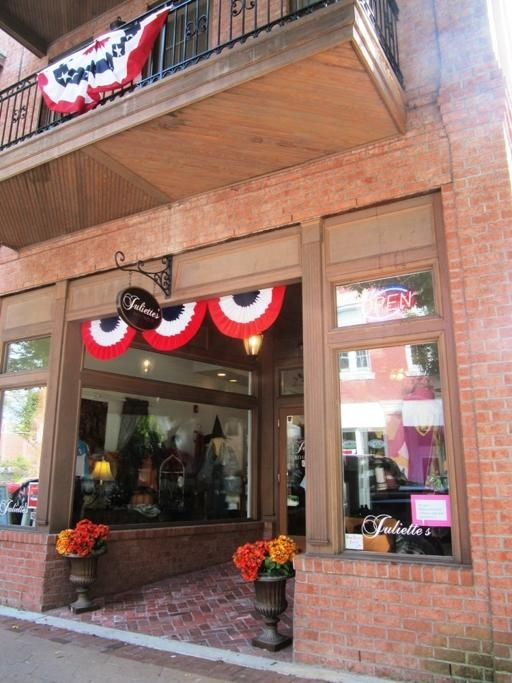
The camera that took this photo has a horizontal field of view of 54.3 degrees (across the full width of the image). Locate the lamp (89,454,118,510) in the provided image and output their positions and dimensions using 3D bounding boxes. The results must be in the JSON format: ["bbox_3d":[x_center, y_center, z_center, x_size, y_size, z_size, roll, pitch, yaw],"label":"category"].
[{"bbox_3d":[-1.978,1.804,6.465,0.092,0.692,0.331,-10,-18,32],"label":"lamp"}]

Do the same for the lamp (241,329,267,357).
[{"bbox_3d":[-0.040,0.035,8.055,0.403,0.673,0.357,-3,-7,13],"label":"lamp"}]

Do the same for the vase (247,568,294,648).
[{"bbox_3d":[0.129,2.209,4.099,0.358,0.515,0.367,-9,-21,24],"label":"vase"}]

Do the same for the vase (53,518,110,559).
[{"bbox_3d":[-1.902,2.112,5.485,0.416,0.357,0.516,-2,-3,15],"label":"vase"}]

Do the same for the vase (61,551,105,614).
[{"bbox_3d":[-1.878,2.616,5.435,0.424,0.565,0.465,10,-25,-33],"label":"vase"}]
